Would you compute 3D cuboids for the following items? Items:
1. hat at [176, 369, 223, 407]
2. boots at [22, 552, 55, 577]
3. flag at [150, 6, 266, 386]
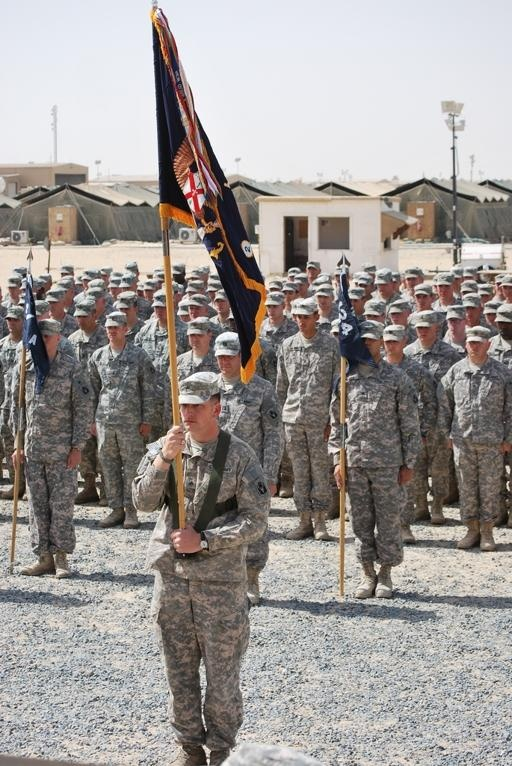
[{"bbox_3d":[-0.282,0.030,5.896,0.292,0.150,0.162,-8,11,-44],"label":"hat"},{"bbox_3d":[-1.879,1.511,9.475,0.323,0.210,0.127,7,-2,-25],"label":"boots"},{"bbox_3d":[-0.307,-0.947,6.051,0.339,1.937,0.832,3,9,26],"label":"flag"}]
